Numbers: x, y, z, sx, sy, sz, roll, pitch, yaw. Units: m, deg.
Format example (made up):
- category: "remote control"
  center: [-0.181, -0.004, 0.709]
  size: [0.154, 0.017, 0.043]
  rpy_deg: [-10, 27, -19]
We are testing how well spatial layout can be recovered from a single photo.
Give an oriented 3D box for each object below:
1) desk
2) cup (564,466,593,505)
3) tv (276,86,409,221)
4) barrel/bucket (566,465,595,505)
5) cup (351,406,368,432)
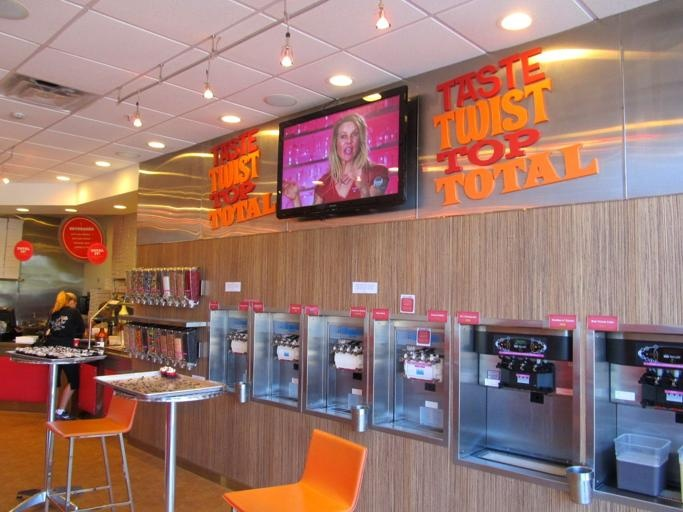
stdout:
- category: "desk"
  center: [-1.654, 1.775, 4.856]
  size: [0.759, 1.447, 1.277]
  rpy_deg: [9, -12, -41]
- category: "cup"
  center: [1.410, 1.352, 2.984]
  size: [0.142, 0.243, 0.178]
  rpy_deg: [-2, -5, 23]
- category: "tv"
  center: [0.042, -0.876, 4.298]
  size: [1.209, 0.774, 0.155]
  rpy_deg: [-5, -12, 40]
- category: "barrel/bucket"
  center: [1.410, 1.352, 2.984]
  size: [0.142, 0.243, 0.178]
  rpy_deg: [-2, -5, 23]
- category: "cup"
  center: [0.157, 1.261, 3.998]
  size: [0.095, 0.179, 0.152]
  rpy_deg: [-4, -6, 38]
